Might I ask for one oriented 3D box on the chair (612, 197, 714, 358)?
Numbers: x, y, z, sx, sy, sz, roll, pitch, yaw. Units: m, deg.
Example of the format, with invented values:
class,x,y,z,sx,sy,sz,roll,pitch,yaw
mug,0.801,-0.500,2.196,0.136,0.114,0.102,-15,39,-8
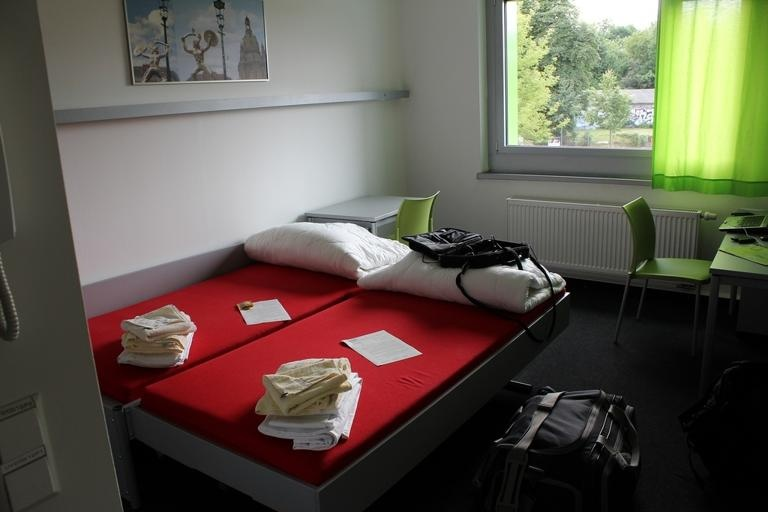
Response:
class,x,y,z,sx,sy,sz,roll,pitch,yaw
chair,2.010,0.068,3.487,0.560,0.951,0.919,9,22,31
